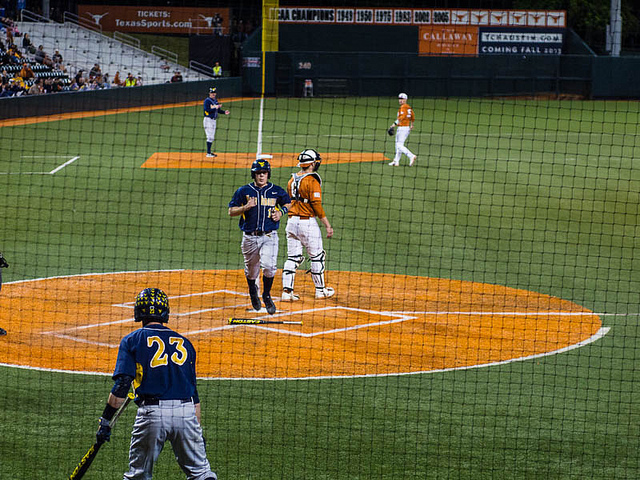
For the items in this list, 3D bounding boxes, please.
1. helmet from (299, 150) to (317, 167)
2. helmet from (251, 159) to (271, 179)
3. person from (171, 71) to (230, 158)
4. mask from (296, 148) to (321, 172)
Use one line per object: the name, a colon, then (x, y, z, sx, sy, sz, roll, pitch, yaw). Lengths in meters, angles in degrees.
helmet: (-0.239, -1.704, 24.379, 0.276, 0.288, 0.339, 10, 39, 19)
helmet: (-1.160, -1.393, 23.390, 0.410, 0.372, 0.472, 0, 5, -7)
person: (-3.321, -3.764, 37.677, 0.864, 2.150, 0.921, 0, -1, 22)
mask: (-0.158, -1.667, 24.474, 0.500, 0.400, 0.413, -24, 29, -39)
